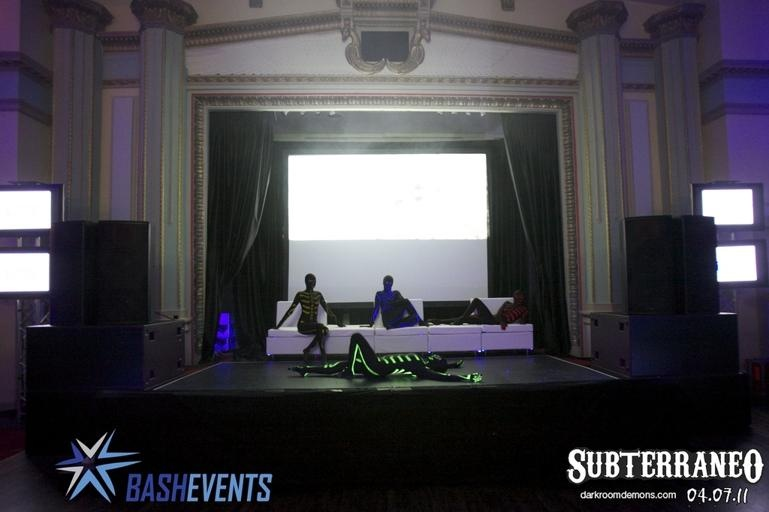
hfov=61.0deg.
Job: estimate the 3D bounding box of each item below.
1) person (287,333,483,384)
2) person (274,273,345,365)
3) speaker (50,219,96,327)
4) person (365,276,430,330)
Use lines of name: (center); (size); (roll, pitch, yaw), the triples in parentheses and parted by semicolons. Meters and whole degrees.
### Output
person: (-0.059, 1.334, 8.592); (2.379, 0.578, 1.381); (0, -5, 0)
person: (-1.095, 0.950, 10.159); (0.860, 1.349, 0.952); (0, 1, 39)
speaker: (-3.677, 0.195, 7.656); (0.488, 1.218, 0.148); (-1, -1, 3)
person: (0.169, 0.728, 10.301); (1.038, 0.862, 0.444); (-6, -8, -2)
